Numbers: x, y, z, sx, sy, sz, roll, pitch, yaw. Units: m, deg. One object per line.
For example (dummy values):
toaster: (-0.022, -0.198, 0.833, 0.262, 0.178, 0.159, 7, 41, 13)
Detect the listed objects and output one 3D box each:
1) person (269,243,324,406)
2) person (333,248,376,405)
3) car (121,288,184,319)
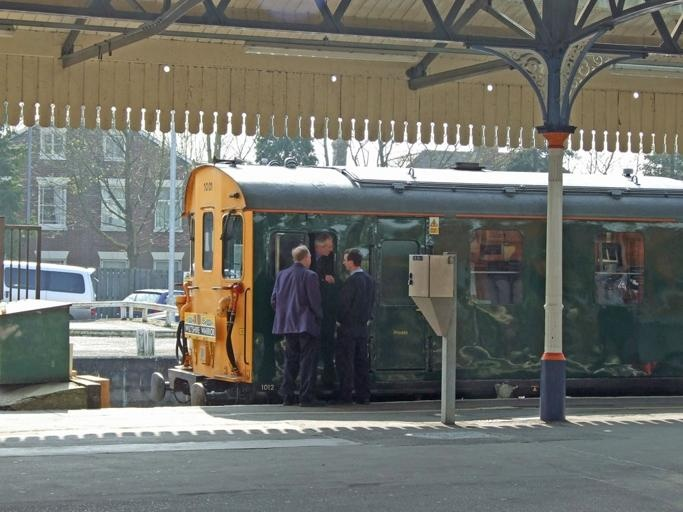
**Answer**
person: (-0.648, 1.076, 22.946, 0.704, 2.365, 0.692, 1, 2, 30)
person: (0.154, 1.091, 23.203, 0.660, 2.327, 0.567, 1, 3, -39)
car: (-5.223, 1.383, 40.886, 1.710, 1.226, 1.439, 1, -3, 31)
